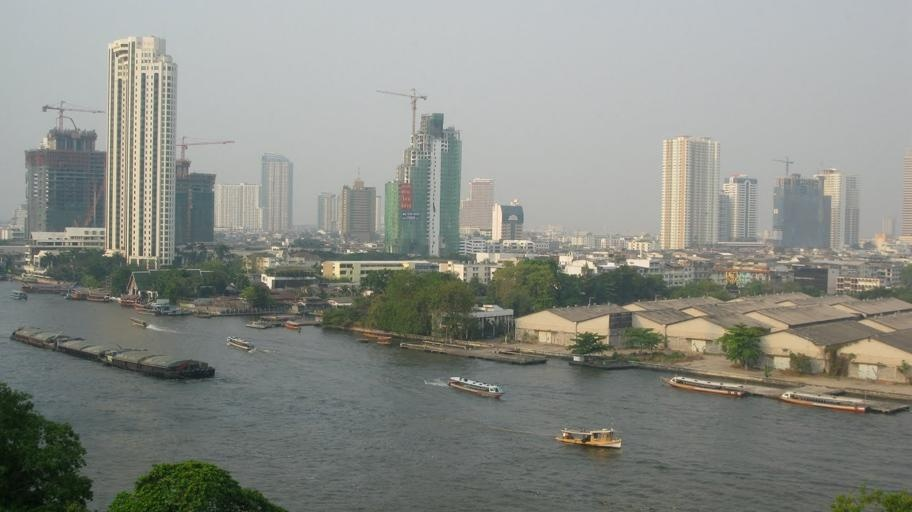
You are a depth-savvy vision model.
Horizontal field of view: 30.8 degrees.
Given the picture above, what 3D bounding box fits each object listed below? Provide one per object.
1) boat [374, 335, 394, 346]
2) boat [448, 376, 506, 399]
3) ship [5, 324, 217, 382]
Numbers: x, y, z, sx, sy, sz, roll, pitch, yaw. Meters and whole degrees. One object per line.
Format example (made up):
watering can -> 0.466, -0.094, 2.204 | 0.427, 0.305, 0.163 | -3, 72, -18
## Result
boat -> -7.295, 8.856, 173.172 | 1.870, 0.774, 3.006 | 0, -2, -1
boat -> 2.175, 12.801, 160.076 | 6.448, 1.502, 1.905 | 13, 10, 31
ship -> -36.149, 9.643, 170.343 | 7.015, 1.761, 31.192 | -3, 6, -44
